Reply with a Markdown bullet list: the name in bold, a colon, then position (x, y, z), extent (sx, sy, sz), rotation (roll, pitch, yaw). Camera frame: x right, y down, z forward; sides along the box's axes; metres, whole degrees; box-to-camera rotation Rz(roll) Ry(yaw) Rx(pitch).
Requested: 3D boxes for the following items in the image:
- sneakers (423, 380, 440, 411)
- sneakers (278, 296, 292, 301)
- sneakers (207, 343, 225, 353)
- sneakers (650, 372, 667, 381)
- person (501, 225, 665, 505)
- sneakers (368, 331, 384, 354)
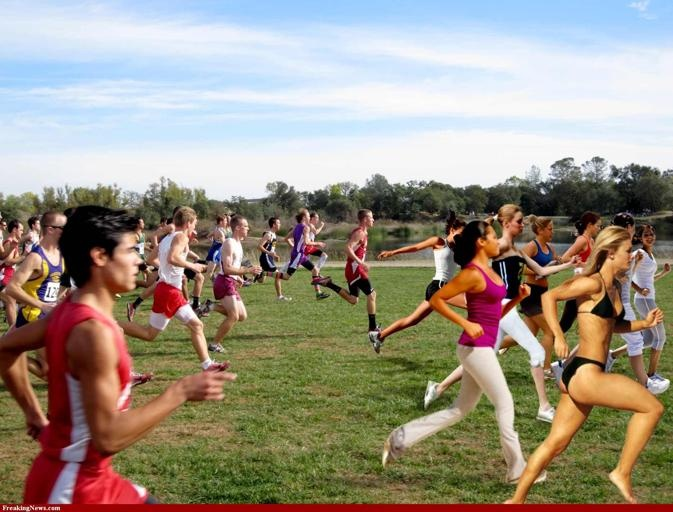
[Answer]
- **sneakers**: position (1.145, 1.668, 7.790), extent (0.177, 0.393, 0.132), rotation (11, -18, 7)
- **sneakers**: position (-1.358, 1.137, 16.848), extent (0.337, 0.145, 0.121), rotation (6, -4, -3)
- **sneakers**: position (-1.948, 1.504, 10.518), extent (0.118, 0.146, 0.335), rotation (2, -2, 28)
- **sneakers**: position (4.290, 1.613, 8.587), extent (0.104, 0.132, 0.307), rotation (-3, -10, -1)
- **person**: position (2.168, 0.966, 5.452), extent (1.090, 2.384, 1.577), rotation (3, 6, 32)
- **sneakers**: position (0.633, 1.366, 10.411), extent (0.207, 0.449, 0.151), rotation (-12, 6, 0)
